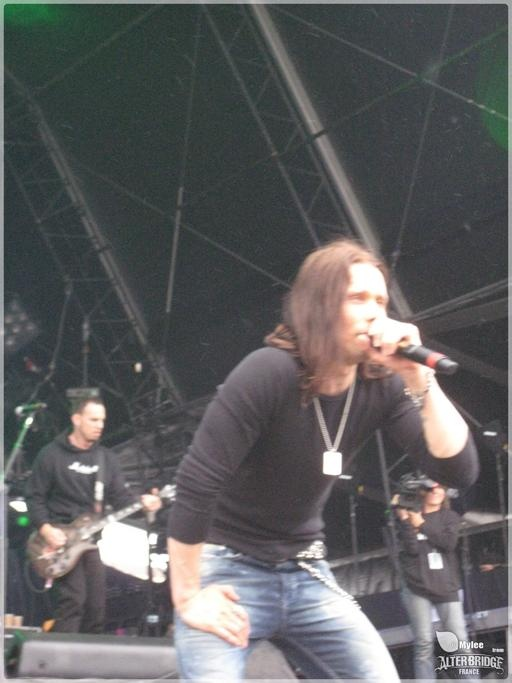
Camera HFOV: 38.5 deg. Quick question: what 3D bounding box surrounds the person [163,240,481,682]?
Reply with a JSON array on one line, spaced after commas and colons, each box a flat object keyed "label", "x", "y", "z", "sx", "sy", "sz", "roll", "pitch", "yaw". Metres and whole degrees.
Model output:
[{"label": "person", "x": 0.137, "y": 0.281, "z": 1.778, "sx": 0.707, "sy": 1.050, "sz": 0.479, "roll": -10, "pitch": -20, "yaw": 20}]

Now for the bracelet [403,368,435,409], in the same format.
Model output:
[{"label": "bracelet", "x": 0.390, "y": 0.106, "z": 1.788, "sx": 0.083, "sy": 0.041, "sz": 0.098, "roll": -14, "pitch": -43, "yaw": -38}]

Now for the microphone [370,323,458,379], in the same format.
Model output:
[{"label": "microphone", "x": 0.346, "y": 0.024, "z": 1.608, "sx": 0.053, "sy": 0.039, "sz": 0.205, "roll": 6, "pitch": 11, "yaw": -29}]

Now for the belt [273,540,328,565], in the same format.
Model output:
[{"label": "belt", "x": 0.116, "y": 0.547, "z": 1.886, "sx": 0.102, "sy": 0.018, "sz": 0.102, "roll": -18, "pitch": -11, "yaw": 16}]
